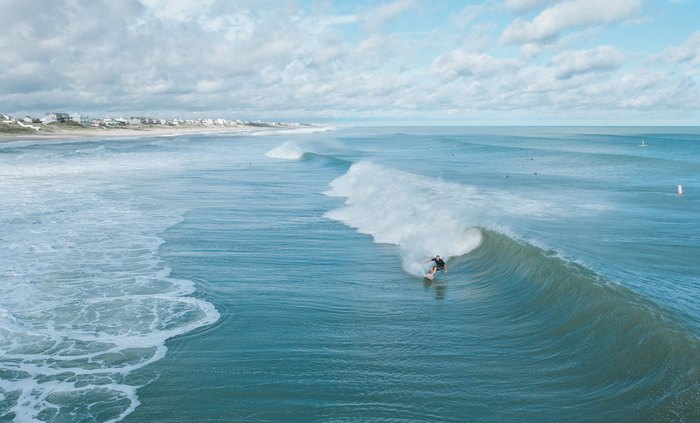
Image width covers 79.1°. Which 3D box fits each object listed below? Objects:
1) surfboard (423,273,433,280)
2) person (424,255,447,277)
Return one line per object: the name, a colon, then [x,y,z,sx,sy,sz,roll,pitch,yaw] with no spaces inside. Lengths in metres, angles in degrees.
surfboard: [2.871,2.335,15.077,0.349,0.259,0.335,0,19,14]
person: [3.202,2.047,15.594,0.775,0.659,0.738,-15,27,-27]
